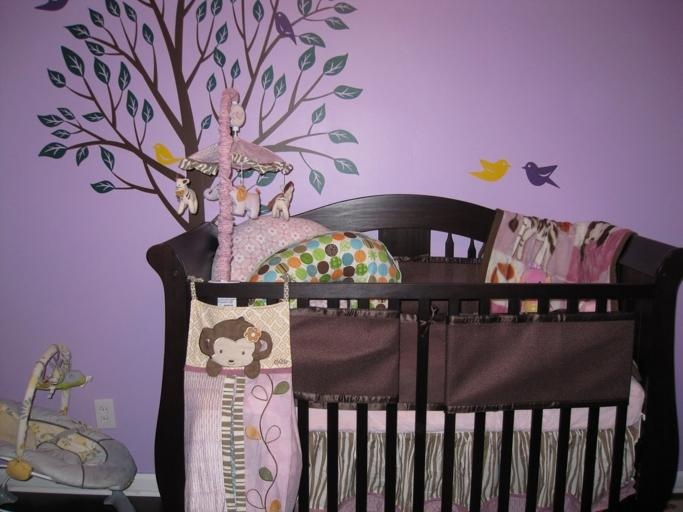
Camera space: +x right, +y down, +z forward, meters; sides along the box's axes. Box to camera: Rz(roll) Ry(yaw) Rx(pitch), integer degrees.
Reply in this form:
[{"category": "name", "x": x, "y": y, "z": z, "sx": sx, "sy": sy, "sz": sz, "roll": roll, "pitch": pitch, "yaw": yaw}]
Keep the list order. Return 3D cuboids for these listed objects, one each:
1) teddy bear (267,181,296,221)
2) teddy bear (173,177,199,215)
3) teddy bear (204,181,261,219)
[{"category": "teddy bear", "x": -0.275, "y": -0.281, "z": 3.579, "sx": 0.083, "sy": 0.160, "sz": 0.215, "roll": 4, "pitch": 37, "yaw": 12}, {"category": "teddy bear", "x": -0.768, "y": -0.299, "z": 3.601, "sx": 0.072, "sy": 0.173, "sz": 0.220, "roll": -1, "pitch": 3, "yaw": 13}, {"category": "teddy bear", "x": -0.522, "y": -0.288, "z": 3.556, "sx": 0.256, "sy": 0.185, "sz": 0.097, "roll": 3, "pitch": 19, "yaw": -20}]
